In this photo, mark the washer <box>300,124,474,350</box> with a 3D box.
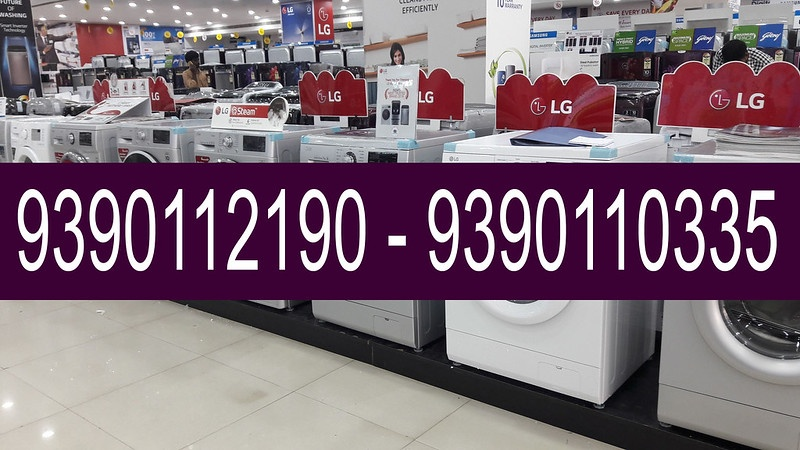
[{"bbox_3d":[-0.257,-0.022,4.758,1.537,2.054,1.604,6,8,42],"label":"washer"}]

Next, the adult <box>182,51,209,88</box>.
[{"bbox_3d":[-3.170,-2.413,7.903,0.290,0.559,0.846,-10,20,-21],"label":"adult"}]

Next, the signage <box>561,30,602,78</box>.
[{"bbox_3d":[2.671,-2.557,7.584,0.518,0.631,0.337,3,19,17],"label":"signage"}]

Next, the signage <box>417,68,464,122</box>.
[{"bbox_3d":[0.334,-1.103,4.371,0.462,0.403,0.076,10,13,38],"label":"signage"}]

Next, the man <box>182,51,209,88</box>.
[{"bbox_3d":[-3.174,-2.415,7.910,0.290,0.559,0.864,-10,20,-21],"label":"man"}]

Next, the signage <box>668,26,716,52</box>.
[{"bbox_3d":[5.036,-3.248,8.901,0.698,0.342,0.361,7,21,27],"label":"signage"}]

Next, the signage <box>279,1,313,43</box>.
[{"bbox_3d":[-3.499,-6.954,17.475,1.345,1.271,0.393,8,21,30],"label":"signage"}]

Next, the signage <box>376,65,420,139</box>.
[{"bbox_3d":[-0.032,-0.935,3.848,0.356,0.505,0.308,4,19,19],"label":"signage"}]

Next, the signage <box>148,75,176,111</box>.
[{"bbox_3d":[-2.728,-1.506,5.906,0.475,0.394,0.214,8,21,29],"label":"signage"}]

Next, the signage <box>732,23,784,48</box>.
[{"bbox_3d":[5.894,-3.166,8.511,0.738,0.346,0.439,7,21,25],"label":"signage"}]

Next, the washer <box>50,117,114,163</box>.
[{"bbox_3d":[-3.206,-0.864,5.234,0.755,0.388,0.387,13,24,38],"label":"washer"}]

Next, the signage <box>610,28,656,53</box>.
[{"bbox_3d":[4.214,-3.364,9.291,0.697,0.344,0.362,5,20,21],"label":"signage"}]
